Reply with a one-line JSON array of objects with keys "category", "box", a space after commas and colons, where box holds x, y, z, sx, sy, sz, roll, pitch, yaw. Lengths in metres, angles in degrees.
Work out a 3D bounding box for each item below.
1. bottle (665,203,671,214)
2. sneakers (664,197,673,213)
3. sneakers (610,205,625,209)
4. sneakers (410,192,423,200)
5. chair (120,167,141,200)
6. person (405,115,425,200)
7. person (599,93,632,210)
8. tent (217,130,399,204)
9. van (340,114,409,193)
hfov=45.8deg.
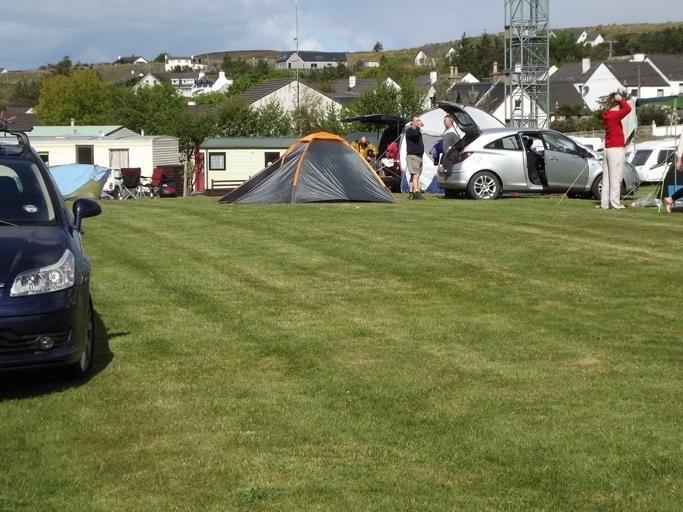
[{"category": "bottle", "box": [5.843, -0.849, 14.504, 0.081, 0.174, 0.057, -2, -2, 13]}, {"category": "sneakers", "box": [5.862, -0.916, 14.584, 0.085, 0.289, 0.118, -1, 31, 4]}, {"category": "sneakers", "box": [5.158, -0.924, 15.225, 0.177, 0.090, 0.066, -2, 22, -21]}, {"category": "sneakers", "box": [1.678, -1.361, 18.342, 0.116, 0.169, 0.372, -1, -1, -20]}, {"category": "chair", "box": [-8.978, -3.065, 34.535, 1.062, 1.689, 1.111, -1, 0, -16]}, {"category": "person", "box": [1.613, -2.151, 18.170, 0.386, 1.779, 0.755, 1, 13, 4]}, {"category": "person", "box": [5.091, -1.938, 15.142, 0.515, 2.103, 0.540, 4, 14, 19]}, {"category": "tent", "box": [-0.656, -1.739, 17.800, 2.162, 1.127, 2.162, -1, 0, -35]}, {"category": "van", "box": [1.164, -3.252, 24.805, 2.059, 2.523, 2.344, 3, 10, 30]}]
